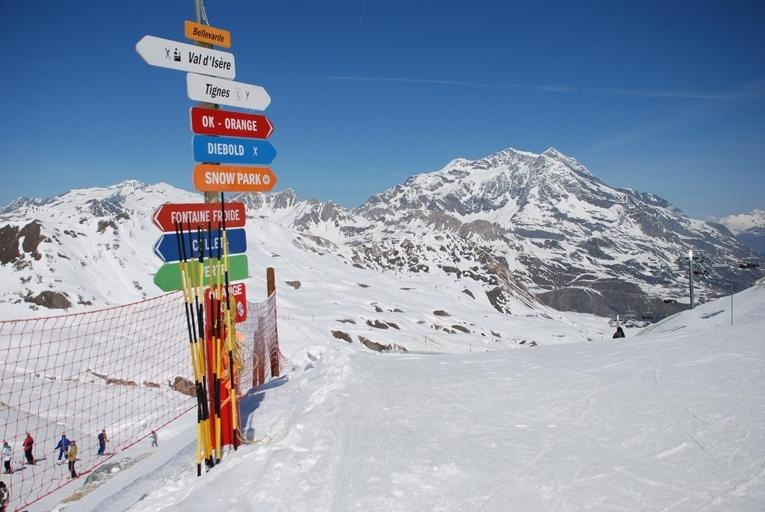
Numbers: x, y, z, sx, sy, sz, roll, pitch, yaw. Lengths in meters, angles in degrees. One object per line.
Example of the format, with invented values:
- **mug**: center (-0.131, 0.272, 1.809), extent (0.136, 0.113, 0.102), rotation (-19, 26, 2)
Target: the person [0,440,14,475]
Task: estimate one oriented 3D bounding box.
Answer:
- **person**: center (-21.279, 11.245, 35.523), extent (0.559, 1.809, 1.380), rotation (4, 7, -31)
